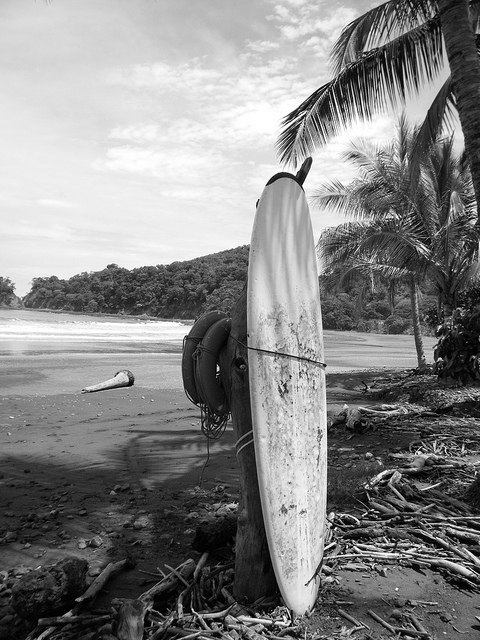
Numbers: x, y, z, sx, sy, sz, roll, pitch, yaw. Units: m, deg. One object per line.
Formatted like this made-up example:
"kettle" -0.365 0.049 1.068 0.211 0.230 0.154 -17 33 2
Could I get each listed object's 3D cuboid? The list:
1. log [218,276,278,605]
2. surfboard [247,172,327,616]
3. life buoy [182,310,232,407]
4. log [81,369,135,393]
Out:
"log" 0.029 0.671 2.506 0.349 1.402 0.397 1 1 -9
"surfboard" 0.269 0.298 2.499 0.216 2.137 0.849 -2 0 22
"life buoy" -0.212 0.296 3.056 0.147 0.597 0.550 16 6 6
"log" -3.091 1.469 11.491 0.368 0.394 1.193 4 7 31
